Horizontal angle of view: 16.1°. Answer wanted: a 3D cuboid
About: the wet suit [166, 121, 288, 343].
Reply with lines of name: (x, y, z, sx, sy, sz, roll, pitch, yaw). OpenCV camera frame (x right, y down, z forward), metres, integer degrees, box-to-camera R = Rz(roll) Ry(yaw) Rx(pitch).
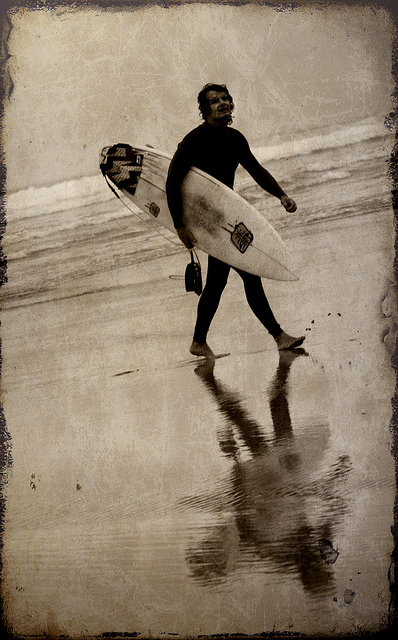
wet suit: (0.140, -0.455, 6.097, 0.461, 1.414, 0.345, 1, 40, 13)

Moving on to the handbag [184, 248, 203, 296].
handbag: (-0.020, -0.218, 5.958, 0.066, 0.225, 0.021, 8, 32, 9)

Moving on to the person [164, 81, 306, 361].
person: (0.150, -0.427, 6.034, 0.473, 1.331, 0.368, -7, 29, -1)
